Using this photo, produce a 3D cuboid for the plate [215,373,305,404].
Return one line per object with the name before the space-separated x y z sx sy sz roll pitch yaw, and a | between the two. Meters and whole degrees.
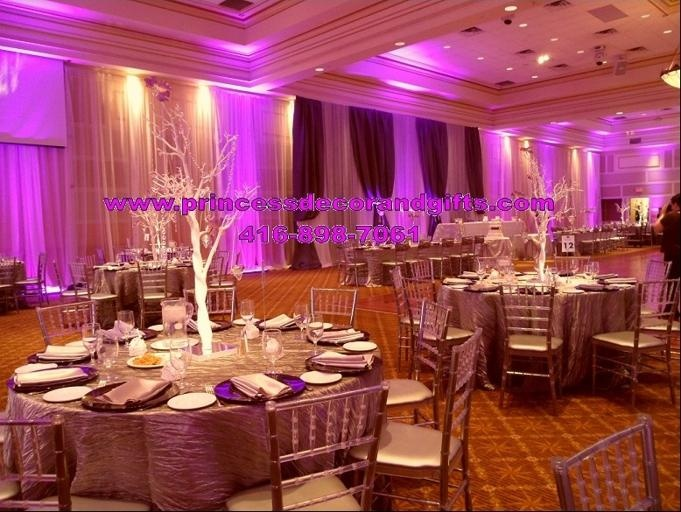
plate | -0.390 0.635 2.269 0.443 0.050 0.289 -3 8 -12
